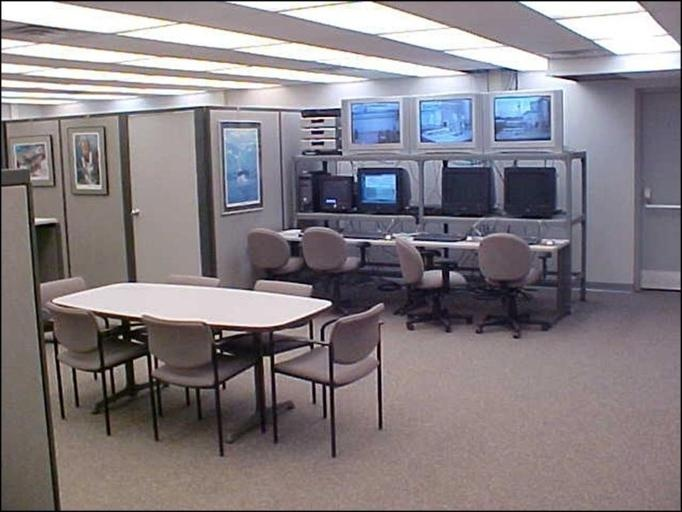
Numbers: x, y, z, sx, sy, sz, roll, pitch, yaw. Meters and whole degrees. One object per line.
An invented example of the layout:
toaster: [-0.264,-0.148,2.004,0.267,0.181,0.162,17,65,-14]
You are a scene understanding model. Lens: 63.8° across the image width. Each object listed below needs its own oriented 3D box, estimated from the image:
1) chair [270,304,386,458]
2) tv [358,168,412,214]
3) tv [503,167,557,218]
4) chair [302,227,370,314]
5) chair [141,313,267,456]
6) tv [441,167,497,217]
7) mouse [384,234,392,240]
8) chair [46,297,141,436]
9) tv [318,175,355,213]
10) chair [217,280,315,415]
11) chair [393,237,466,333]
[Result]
chair: [-0.080,0.887,4.201,0.706,1.026,0.702,6,10,42]
tv: [0.568,-0.975,7.669,0.612,0.560,0.339,4,24,15]
tv: [2.359,-0.833,6.787,0.632,0.612,0.369,7,25,35]
chair: [-0.106,0.157,7.120,0.854,1.271,0.790,9,16,42]
chair: [-1.060,0.909,4.234,0.675,0.994,0.744,3,8,18]
tv: [1.700,-0.832,7.337,0.624,0.647,0.649,1,3,22]
mouse: [0.609,-0.257,7.086,0.077,0.073,0.075,-2,3,14]
chair: [-1.985,0.830,4.570,0.619,0.930,0.684,6,9,28]
tv: [-0.010,-0.899,7.943,0.506,0.528,0.522,-1,4,6]
chair: [-0.602,0.797,4.685,0.731,0.894,0.671,-19,-7,33]
chair: [1.089,0.287,6.590,0.871,1.056,0.818,-3,3,-25]
